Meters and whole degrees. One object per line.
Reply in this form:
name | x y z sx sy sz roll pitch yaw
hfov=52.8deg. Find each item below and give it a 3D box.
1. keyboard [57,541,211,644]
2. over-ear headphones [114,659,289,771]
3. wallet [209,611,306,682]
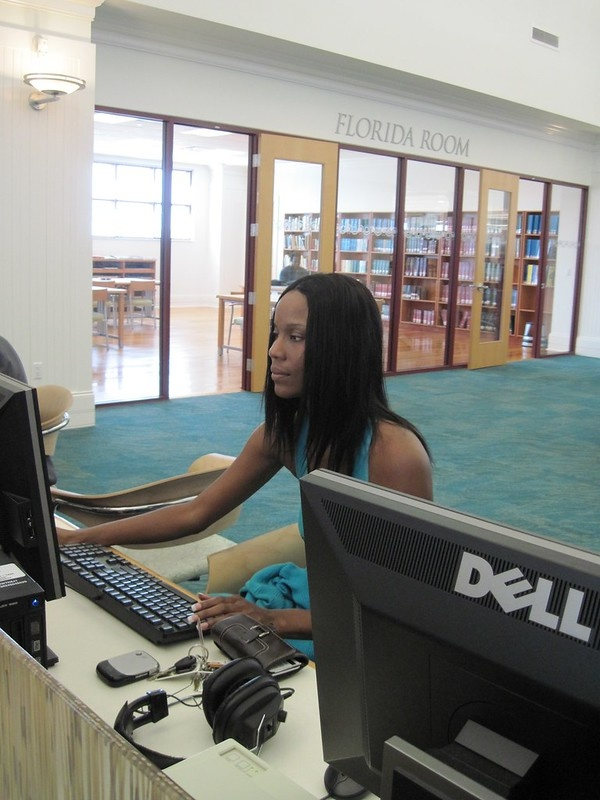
keyboard | -0.377 0.401 1.302 0.148 0.042 0.495 0 7 -45
over-ear headphones | -0.130 0.439 0.846 0.242 0.109 0.157 1 8 -18
wallet | -0.082 0.442 1.092 0.099 0.052 0.163 -5 15 -42
